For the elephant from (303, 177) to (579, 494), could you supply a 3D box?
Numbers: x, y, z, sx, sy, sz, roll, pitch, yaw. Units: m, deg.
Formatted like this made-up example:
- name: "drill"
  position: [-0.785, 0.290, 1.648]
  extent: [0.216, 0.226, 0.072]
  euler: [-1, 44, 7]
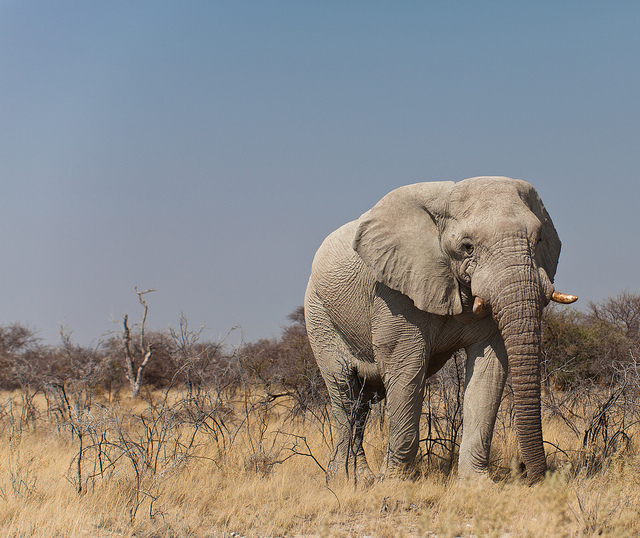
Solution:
- name: "elephant"
  position: [2.055, 1.207, 18.456]
  extent: [2.868, 4.647, 4.636]
  euler: [6, -16, -35]
